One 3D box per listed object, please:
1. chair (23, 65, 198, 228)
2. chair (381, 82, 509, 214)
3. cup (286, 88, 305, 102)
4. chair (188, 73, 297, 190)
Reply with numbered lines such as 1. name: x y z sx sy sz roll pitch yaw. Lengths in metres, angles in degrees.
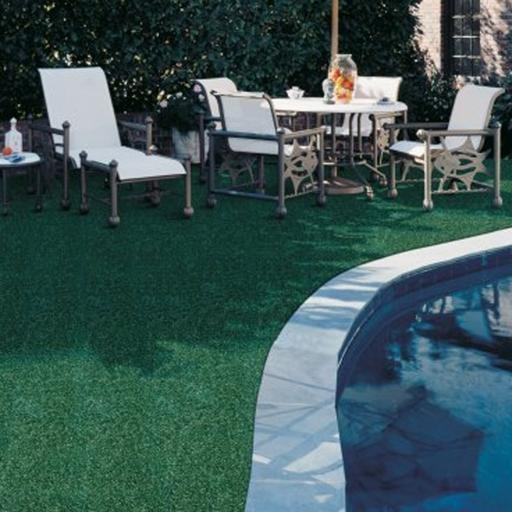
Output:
1. chair: -1.557 -1.302 6.326 1.140 1.762 2.241 -9 20 -33
2. chair: 2.059 -1.216 6.622 1.134 1.318 1.990 4 8 12
3. cup: 0.460 -1.954 7.291 0.223 0.152 0.240 -2 4 0
4. chair: 0.109 -1.111 6.241 0.998 1.325 1.044 7 21 25
